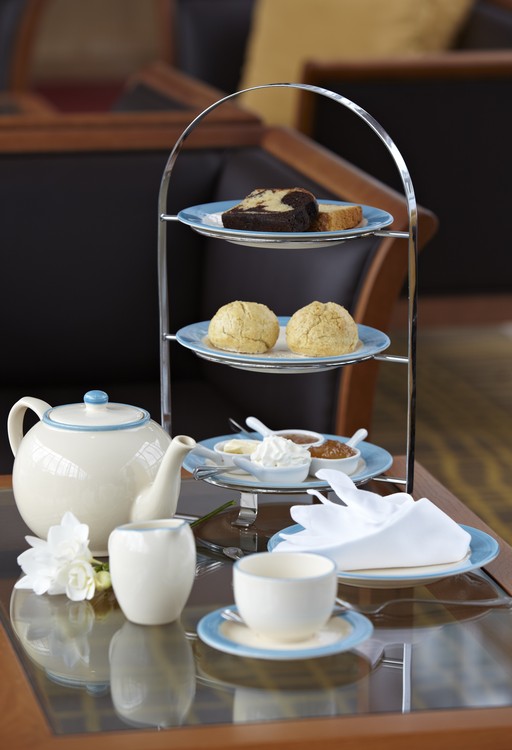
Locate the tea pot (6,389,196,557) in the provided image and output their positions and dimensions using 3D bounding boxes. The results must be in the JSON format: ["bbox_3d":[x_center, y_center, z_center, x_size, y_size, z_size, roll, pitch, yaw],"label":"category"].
[{"bbox_3d":[-0.132,0.068,0.639,0.179,0.111,0.124,15,18,38],"label":"tea pot"}]

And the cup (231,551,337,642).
[{"bbox_3d":[0.020,0.146,0.459,0.068,0.046,0.068,-1,0,0],"label":"cup"}]

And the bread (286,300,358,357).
[{"bbox_3d":[0.070,-0.057,0.764,0.091,0.050,0.085,-2,16,4],"label":"bread"}]

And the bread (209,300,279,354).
[{"bbox_3d":[-0.013,-0.048,0.730,0.064,0.036,0.060,-2,20,-8],"label":"bread"}]

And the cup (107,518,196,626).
[{"bbox_3d":[-0.071,0.142,0.534,0.077,0.068,0.063,4,6,41],"label":"cup"}]

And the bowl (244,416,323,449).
[{"bbox_3d":[0.033,0.058,0.779,0.060,0.020,0.038,9,13,39],"label":"bowl"}]

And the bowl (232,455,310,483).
[{"bbox_3d":[0.016,0.094,0.678,0.055,0.017,0.032,1,3,-2],"label":"bowl"}]

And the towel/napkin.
[{"bbox_3d":[0.092,0.121,0.584,0.162,0.052,0.120,-6,5,9],"label":"towel/napkin"}]

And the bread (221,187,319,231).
[{"bbox_3d":[0.015,-0.175,0.751,0.085,0.020,0.084,4,34,28],"label":"bread"}]

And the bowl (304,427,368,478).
[{"bbox_3d":[0.090,0.087,0.754,0.032,0.021,0.062,3,10,24],"label":"bowl"}]
